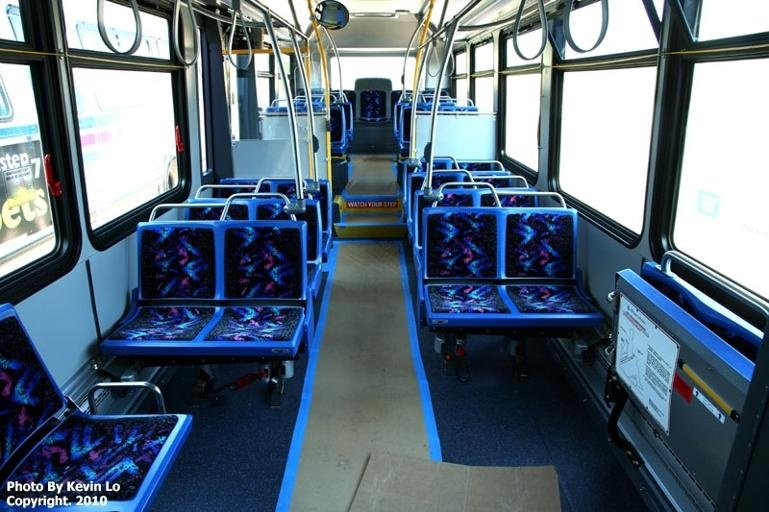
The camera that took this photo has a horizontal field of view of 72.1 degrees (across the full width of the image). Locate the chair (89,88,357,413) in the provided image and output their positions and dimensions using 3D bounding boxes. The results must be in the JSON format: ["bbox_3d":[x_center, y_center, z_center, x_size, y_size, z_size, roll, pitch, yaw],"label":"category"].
[{"bbox_3d":[-1.284,-0.004,5.028,1.757,1.625,2.463,0,15,-3],"label":"chair"}]
